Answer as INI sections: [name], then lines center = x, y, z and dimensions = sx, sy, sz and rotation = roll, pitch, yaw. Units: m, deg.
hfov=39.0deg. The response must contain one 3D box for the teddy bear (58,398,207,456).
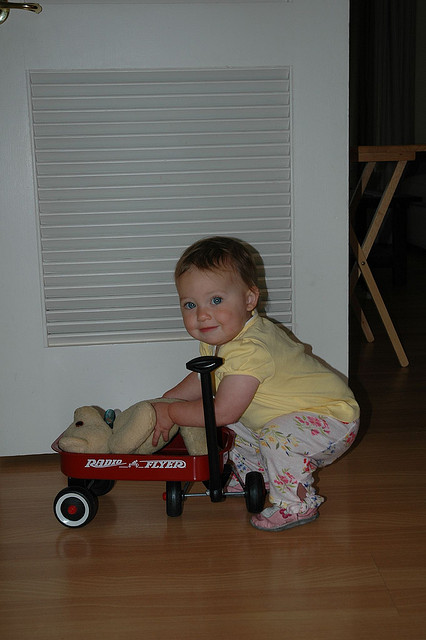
[teddy bear]
center = -0.153, 0.185, 1.063
dimensions = 0.210, 0.076, 0.116
rotation = 0, -8, 5
